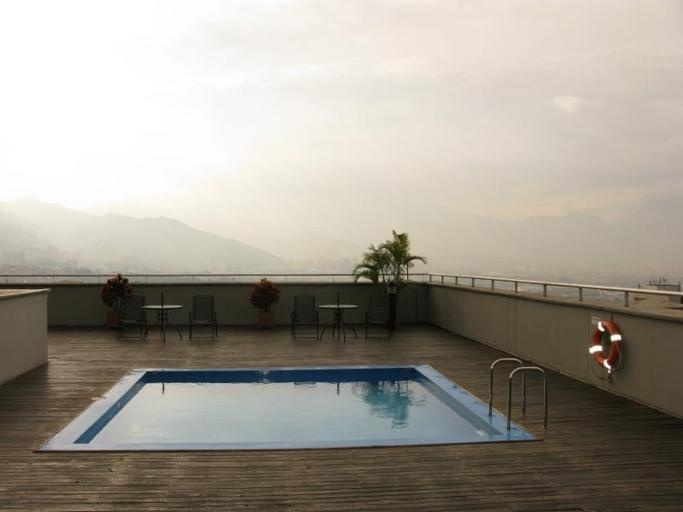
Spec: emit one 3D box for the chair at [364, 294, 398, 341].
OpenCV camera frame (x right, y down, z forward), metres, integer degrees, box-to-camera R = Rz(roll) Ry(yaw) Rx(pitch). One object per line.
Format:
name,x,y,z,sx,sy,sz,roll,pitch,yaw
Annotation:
chair,0.787,1.296,12.040,0.671,1.248,0.844,1,4,3

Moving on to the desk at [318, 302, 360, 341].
desk,-0.096,1.464,12.233,0.964,0.751,0.949,3,3,-43

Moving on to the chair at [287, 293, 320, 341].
chair,-0.756,1.281,11.403,0.555,0.923,0.656,0,0,2

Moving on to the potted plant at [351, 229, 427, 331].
potted plant,1.221,0.533,13.278,1.566,1.985,1.459,8,9,14

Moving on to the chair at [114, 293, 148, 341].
chair,-4.490,1.308,11.865,0.581,0.940,0.665,6,-9,-37

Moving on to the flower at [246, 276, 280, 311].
flower,-1.825,0.869,12.795,0.658,0.743,0.680,0,0,-18

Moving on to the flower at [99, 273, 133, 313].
flower,-4.982,0.728,12.458,0.490,0.653,0.491,-3,28,-18

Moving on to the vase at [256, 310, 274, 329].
vase,-1.780,1.460,12.740,0.353,0.377,0.368,0,-5,-2

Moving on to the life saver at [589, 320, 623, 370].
life saver,3.521,1.195,7.393,0.193,0.689,0.516,-1,7,-8

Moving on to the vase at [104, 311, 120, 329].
vase,-5.313,1.442,12.918,0.342,0.511,0.488,1,-3,-3

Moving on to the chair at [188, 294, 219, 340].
chair,-2.819,1.277,11.242,0.765,0.915,0.740,-2,-2,44
